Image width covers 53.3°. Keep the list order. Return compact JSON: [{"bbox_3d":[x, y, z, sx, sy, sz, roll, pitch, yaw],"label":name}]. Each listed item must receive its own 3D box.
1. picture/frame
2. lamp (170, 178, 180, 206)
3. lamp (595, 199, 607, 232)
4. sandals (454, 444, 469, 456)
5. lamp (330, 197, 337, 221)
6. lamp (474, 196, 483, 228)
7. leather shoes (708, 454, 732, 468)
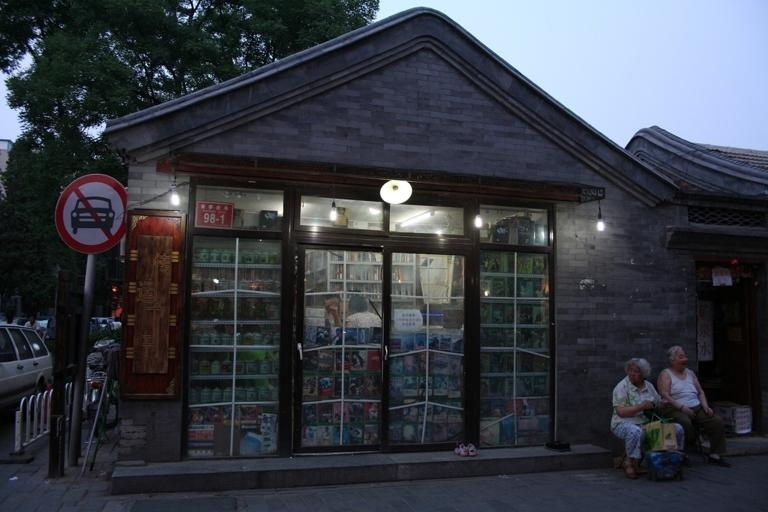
[{"bbox_3d":[-3.942,0.834,13.039,1.093,3.099,0.227,5,-8,-38],"label":"picture/frame"},{"bbox_3d":[-3.577,-1.098,13.139,0.157,0.478,0.144,3,-8,-16],"label":"lamp"},{"bbox_3d":[4.131,-0.771,14.637,0.161,0.592,0.359,-2,-8,21],"label":"lamp"},{"bbox_3d":[1.385,3.499,13.702,0.170,0.154,0.164,1,-4,-10],"label":"sandals"},{"bbox_3d":[-0.891,-0.824,13.632,0.150,0.392,0.310,1,-7,-5],"label":"lamp"},{"bbox_3d":[1.764,-0.730,14.245,0.155,0.490,0.254,-2,-8,16],"label":"lamp"},{"bbox_3d":[6.171,3.768,14.047,0.390,0.157,0.170,0,0,31],"label":"leather shoes"}]
